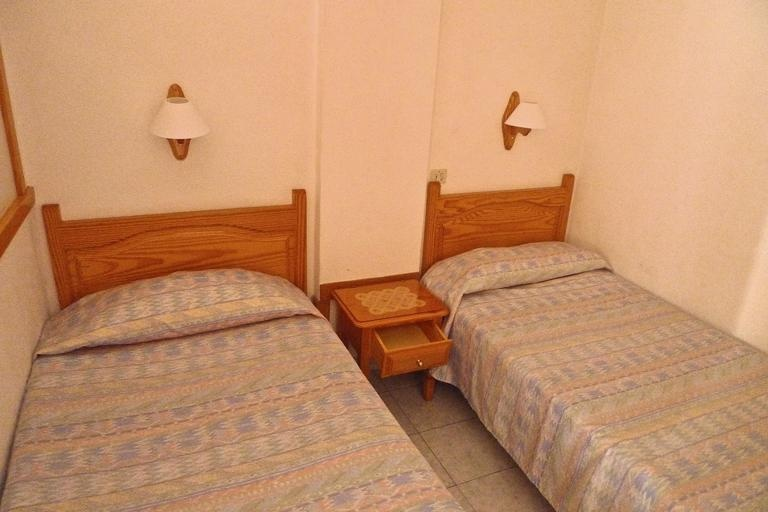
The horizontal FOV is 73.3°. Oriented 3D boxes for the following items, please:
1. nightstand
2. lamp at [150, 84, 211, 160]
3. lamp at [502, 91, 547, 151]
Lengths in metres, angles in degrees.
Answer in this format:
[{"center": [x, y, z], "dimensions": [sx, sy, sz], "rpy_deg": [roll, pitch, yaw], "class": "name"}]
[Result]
[{"center": [0.035, 0.447, 3.525], "dimensions": [0.790, 0.721, 0.793], "rpy_deg": [-9, 30, -17], "class": "nightstand"}, {"center": [-1.170, -0.777, 2.929], "dimensions": [0.406, 0.468, 0.263], "rpy_deg": [-4, 34, -13], "class": "lamp"}, {"center": [1.020, -0.949, 3.674], "dimensions": [0.302, 0.414, 0.226], "rpy_deg": [-16, 32, -26], "class": "lamp"}]
